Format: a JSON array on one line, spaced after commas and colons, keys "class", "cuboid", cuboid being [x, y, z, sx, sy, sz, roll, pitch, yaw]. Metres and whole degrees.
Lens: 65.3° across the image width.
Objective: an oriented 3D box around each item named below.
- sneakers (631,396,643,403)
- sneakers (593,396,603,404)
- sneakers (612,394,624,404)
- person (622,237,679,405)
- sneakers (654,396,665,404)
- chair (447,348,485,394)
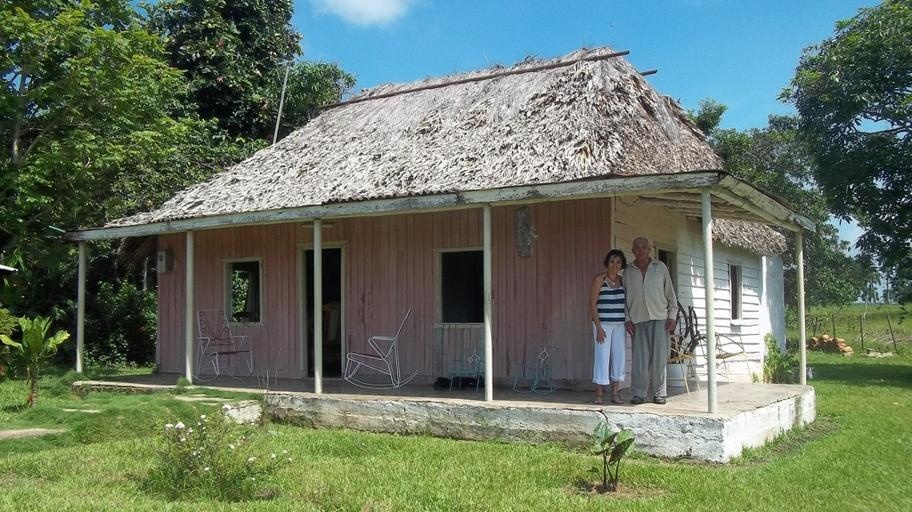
[{"class": "sneakers", "cuboid": [3.853, 3.067, 15.163, 0.240, 0.157, 0.123, 11, -15, -41]}, {"class": "sneakers", "cuboid": [3.057, 3.080, 15.290, 0.226, 0.112, 0.269, -2, -9, 11]}, {"class": "sneakers", "cuboid": [3.456, 3.052, 15.203, 0.219, 0.196, 0.432, -2, -9, 14]}, {"class": "person", "cuboid": [4.130, 1.365, 15.161, 1.045, 3.488, 0.654, -2, -9, 12]}, {"class": "sneakers", "cuboid": [4.330, 3.066, 15.122, 0.245, 0.143, 0.245, -1, -9, 8]}, {"class": "chair", "cuboid": [0.334, 2.708, 16.735, 1.175, 1.102, 1.128, 6, -10, -29]}]
